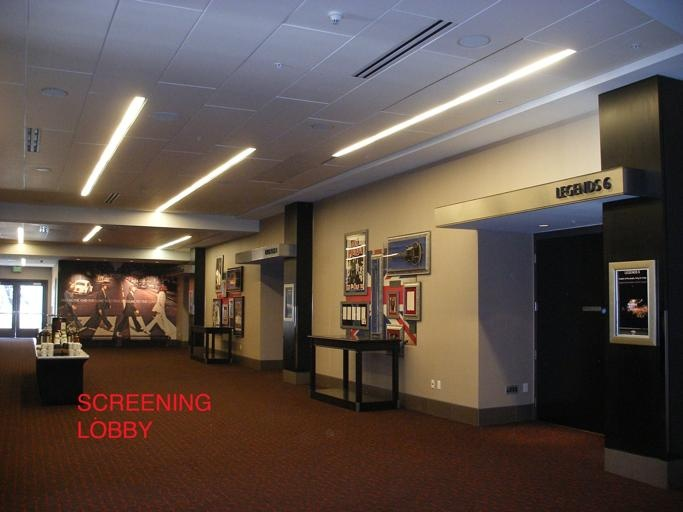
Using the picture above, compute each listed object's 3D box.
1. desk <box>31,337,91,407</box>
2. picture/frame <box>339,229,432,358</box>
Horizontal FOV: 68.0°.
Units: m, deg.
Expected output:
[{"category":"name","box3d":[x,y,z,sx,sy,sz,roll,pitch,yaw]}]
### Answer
[{"category":"desk","box3d":[-5.319,2.223,9.574,0.817,1.156,0.663,3,-5,-27]},{"category":"picture/frame","box3d":[0.887,0.724,9.568,0.146,2.321,2.557,5,-6,-30]}]
